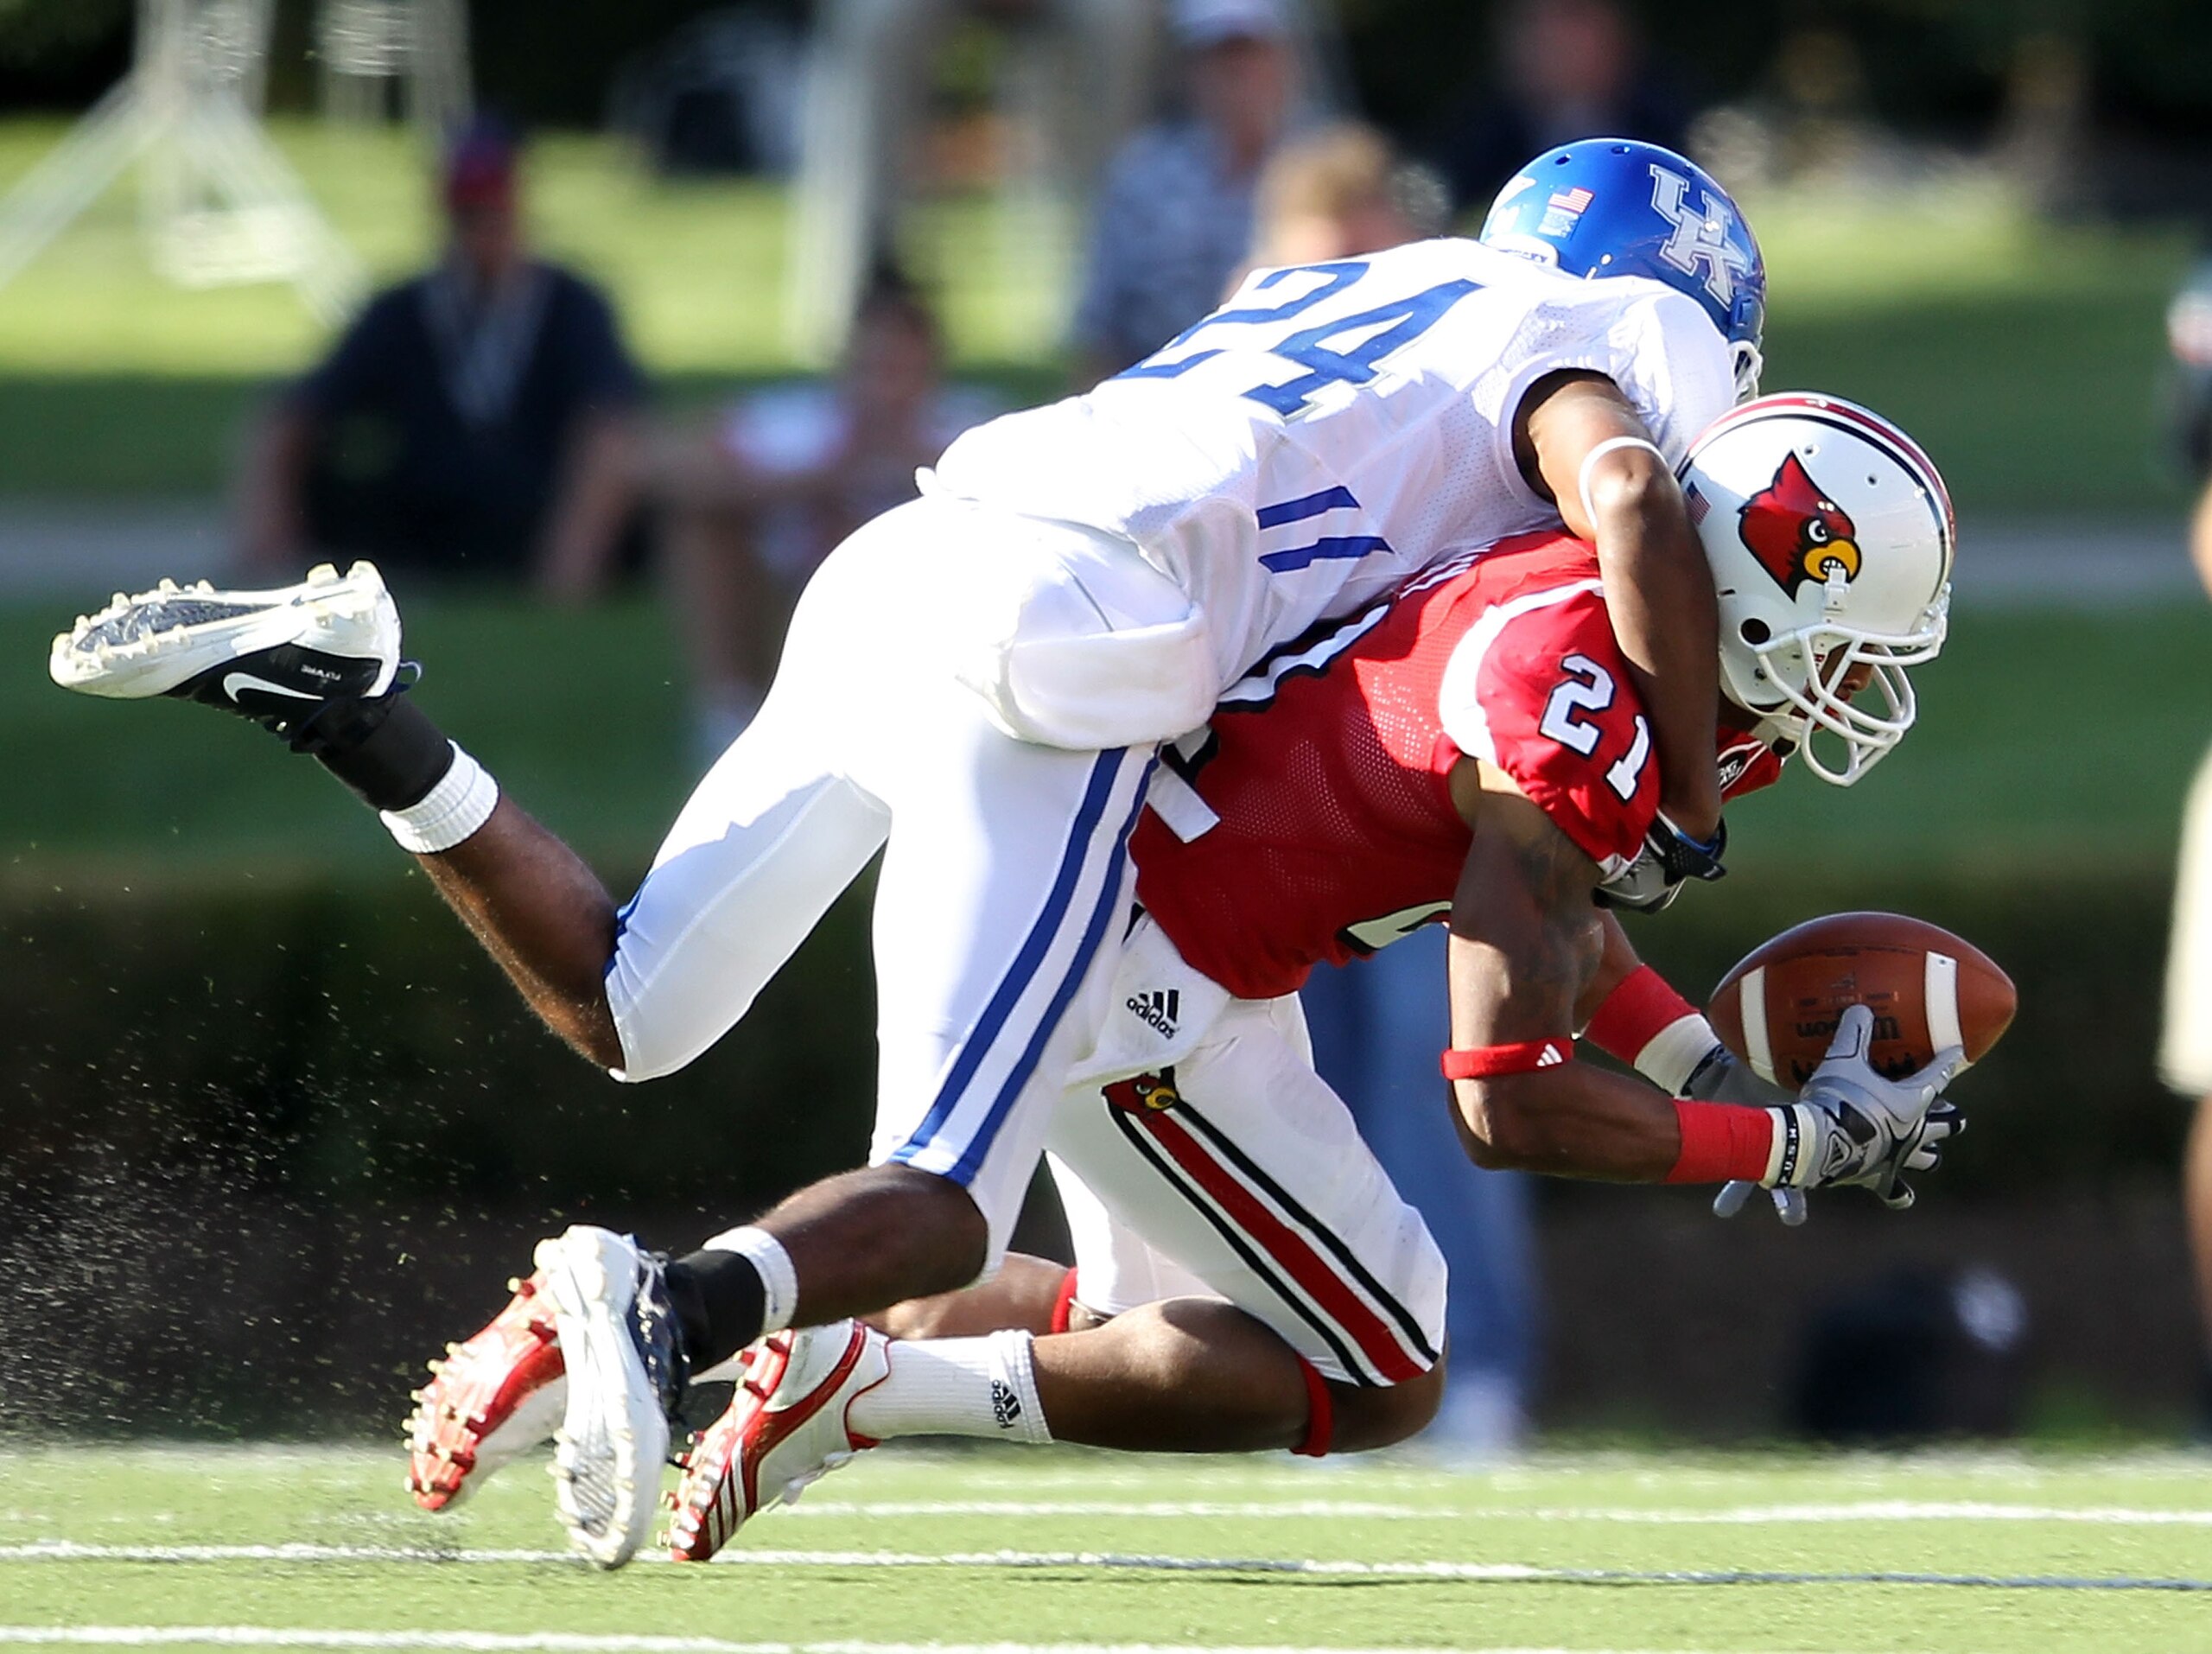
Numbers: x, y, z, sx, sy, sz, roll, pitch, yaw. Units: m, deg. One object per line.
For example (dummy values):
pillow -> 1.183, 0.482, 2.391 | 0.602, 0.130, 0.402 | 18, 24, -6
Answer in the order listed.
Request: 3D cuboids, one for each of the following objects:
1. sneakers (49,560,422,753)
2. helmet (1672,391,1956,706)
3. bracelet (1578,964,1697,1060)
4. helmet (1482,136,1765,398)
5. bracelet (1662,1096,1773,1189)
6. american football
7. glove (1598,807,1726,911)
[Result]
sneakers -> -1.206, -0.243, 4.613 | 0.460, 0.209, 0.239 | 1, 1, -11
helmet -> 0.996, -0.383, 4.555 | 0.459, 0.405, 0.346 | 13, 6, -10
bracelet -> 0.801, 0.284, 5.059 | 0.137, 0.158, 0.124 | -35, 72, -31
helmet -> 0.754, -0.865, 4.999 | 0.461, 0.343, 0.330 | 8, 13, -30
bracelet -> 0.848, 0.436, 4.524 | 0.136, 0.122, 0.100 | 0, 6, -5
american football -> 1.098, 0.253, 4.741 | 0.377, 0.218, 0.238 | -4, 0, 3
glove -> 0.748, 0.050, 4.529 | 0.118, 0.157, 0.121 | 22, 1, 34
